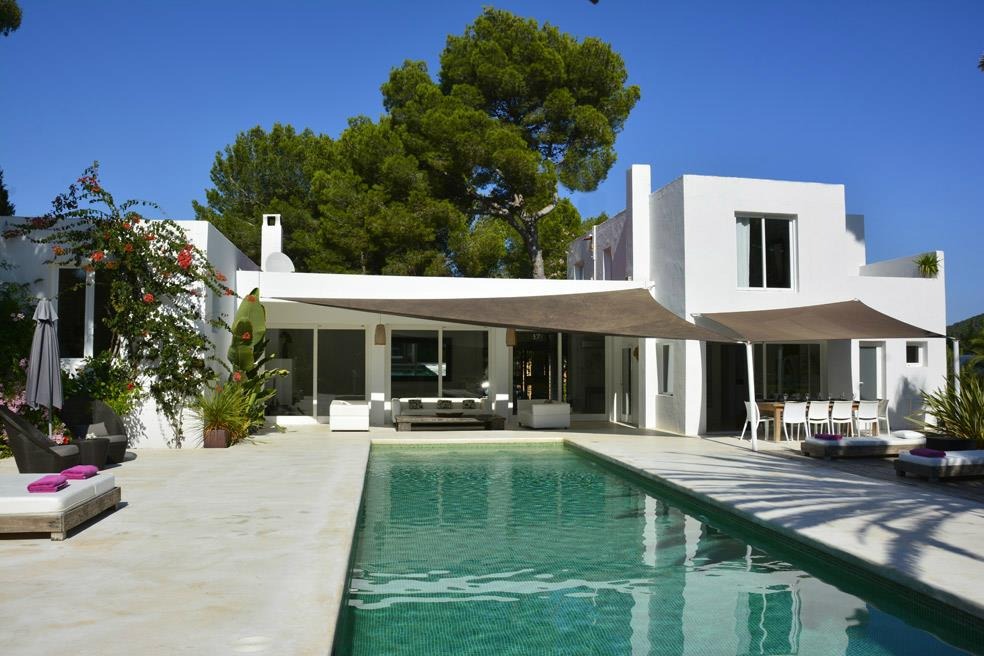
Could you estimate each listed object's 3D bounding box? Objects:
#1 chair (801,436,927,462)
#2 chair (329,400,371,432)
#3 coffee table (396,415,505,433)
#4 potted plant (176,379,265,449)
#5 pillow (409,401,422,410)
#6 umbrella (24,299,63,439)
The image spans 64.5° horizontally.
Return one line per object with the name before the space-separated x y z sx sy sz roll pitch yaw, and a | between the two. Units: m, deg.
chair | 8.455 2.778 17.965 2.452 0.483 0.497 0 -4 -5
chair | -4.099 2.561 22.564 0.918 0.725 0.928 0 1 -8
coffee table | -1.244 2.785 22.737 3.039 0.410 1.577 0 -4 -8
potted plant | -6.652 2.241 19.841 1.499 1.057 1.452 -1 -7 -1
pillow | -2.336 2.365 23.662 0.268 0.268 0.081 2 -18 -9
umbrella | -9.081 0.642 15.852 0.607 2.546 0.623 2 -4 -32
